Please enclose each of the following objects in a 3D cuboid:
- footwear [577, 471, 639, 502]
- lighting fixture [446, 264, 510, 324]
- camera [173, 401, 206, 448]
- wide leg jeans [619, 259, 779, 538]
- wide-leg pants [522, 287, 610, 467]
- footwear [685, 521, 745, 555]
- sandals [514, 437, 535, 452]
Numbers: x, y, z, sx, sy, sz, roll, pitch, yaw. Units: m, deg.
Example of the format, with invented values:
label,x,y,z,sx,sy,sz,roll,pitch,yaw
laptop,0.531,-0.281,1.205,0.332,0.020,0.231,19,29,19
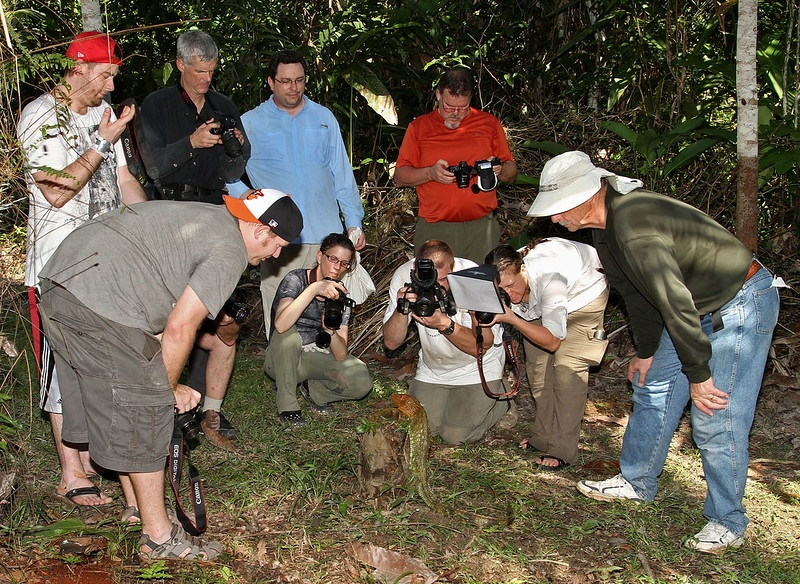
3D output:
label,x,y,z,sx,sy,sz,roll,pitch,yaw
footwear,1.391,1.310,4.104,0.401,0.174,0.149,6,-2,4
lighting fixture,0.595,0.014,4.222,0.364,0.467,0.261,8,41,35
camera,-1.170,0.735,3.261,0.169,0.098,0.157,20,12,14
wide leg jeans,1.912,0.544,3.979,1.011,1.511,1.019,9,16,18
wide-leg pants,1.221,0.448,4.659,0.548,1.736,0.520,5,4,36
footwear,1.847,1.436,3.599,0.359,0.160,0.141,-1,5,-10
sandals,0.992,1.212,4.812,0.146,0.057,0.049,20,26,33
